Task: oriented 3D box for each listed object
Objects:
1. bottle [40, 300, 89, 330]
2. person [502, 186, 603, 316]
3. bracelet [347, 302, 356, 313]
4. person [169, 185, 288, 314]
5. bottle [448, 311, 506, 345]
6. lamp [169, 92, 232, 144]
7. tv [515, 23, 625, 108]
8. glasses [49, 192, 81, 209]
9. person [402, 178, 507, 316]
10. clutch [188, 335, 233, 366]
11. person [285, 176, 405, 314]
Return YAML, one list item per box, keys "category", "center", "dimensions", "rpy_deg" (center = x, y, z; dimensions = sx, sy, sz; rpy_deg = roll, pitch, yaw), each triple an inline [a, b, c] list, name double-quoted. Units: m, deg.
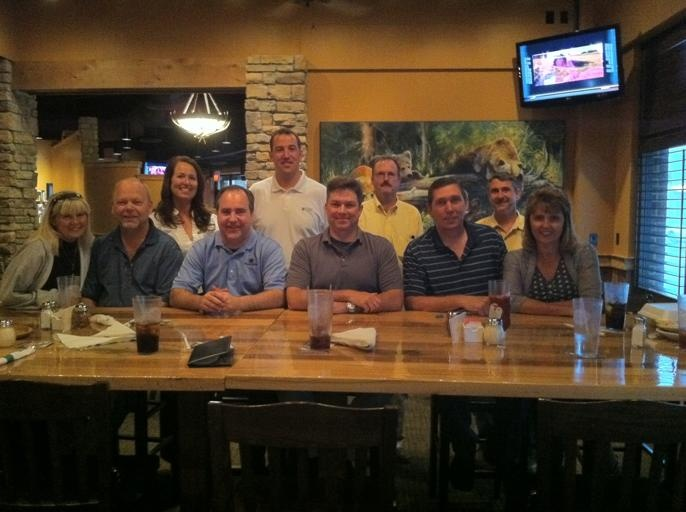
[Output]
- category: "bottle"
  center: [-1.373, 0.288, 3.052]
  dimensions: [0.188, 0.173, 0.139]
  rpy_deg: [4, 3, 4]
- category: "person"
  center: [1.176, -0.038, 3.413]
  dimensions: [0.518, 0.704, 0.399]
  rpy_deg: [0, 2, 11]
- category: "bracelet"
  center: [0.048, 0.278, 3.307]
  dimensions: [0.037, 0.018, 0.047]
  rpy_deg: [-1, 43, -6]
- category: "person"
  center: [-0.660, -0.047, 3.491]
  dimensions: [0.670, 0.717, 0.440]
  rpy_deg: [0, 2, -5]
- category: "bottle"
  center: [0.611, 0.330, 2.796]
  dimensions: [0.197, 0.109, 0.170]
  rpy_deg: [0, -1, 4]
- category: "lamp"
  center: [-1.637, -1.668, 7.125]
  dimensions: [0.521, 0.466, 0.660]
  rpy_deg: [-1, 2, -40]
- category: "tv"
  center: [2.000, -1.636, 5.290]
  dimensions: [0.892, 0.586, 0.094]
  rpy_deg: [-1, 20, 27]
- category: "glasses"
  center: [-1.735, -0.348, 3.822]
  dimensions: [0.123, 0.050, 0.136]
  rpy_deg: [-3, 6, 13]
- category: "person"
  center: [0.668, -0.014, 3.693]
  dimensions: [0.713, 0.881, 0.555]
  rpy_deg: [-12, 15, -7]
- category: "clutch"
  center: [-0.549, 0.391, 2.541]
  dimensions: [0.125, 0.037, 0.128]
  rpy_deg: [0, 16, -8]
- category: "person"
  center: [0.010, -0.036, 3.613]
  dimensions: [0.707, 0.850, 0.503]
  rpy_deg: [-1, 11, 5]
